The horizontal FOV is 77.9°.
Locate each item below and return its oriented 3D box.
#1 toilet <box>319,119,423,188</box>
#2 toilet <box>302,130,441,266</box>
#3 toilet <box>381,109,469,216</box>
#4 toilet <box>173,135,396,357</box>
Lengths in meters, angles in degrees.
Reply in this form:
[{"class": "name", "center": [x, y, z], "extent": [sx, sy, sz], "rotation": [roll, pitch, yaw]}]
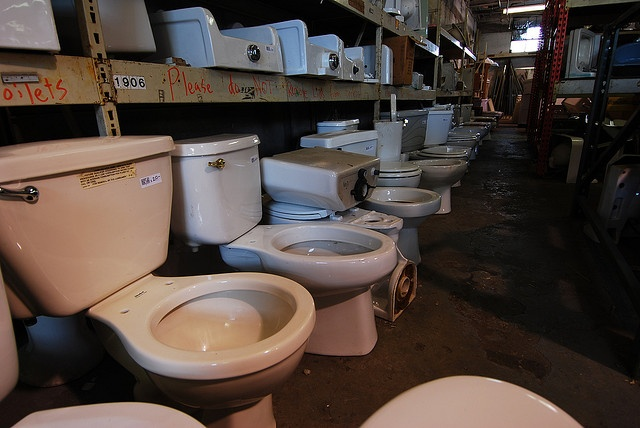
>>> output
[{"class": "toilet", "center": [0.384, -0.474, 2.830], "extent": [0.693, 0.650, 0.393], "rotation": [8, 25, 23]}, {"class": "toilet", "center": [0.387, -0.031, 2.406], "extent": [0.672, 0.642, 0.467], "rotation": [-3, 22, 17]}, {"class": "toilet", "center": [0.884, -0.453, 3.238], "extent": [0.426, 0.701, 0.676], "rotation": [-18, 32, -22]}, {"class": "toilet", "center": [-0.121, -0.004, 2.098], "extent": [1.194, 1.118, 0.682], "rotation": [6, 22, 19]}]
